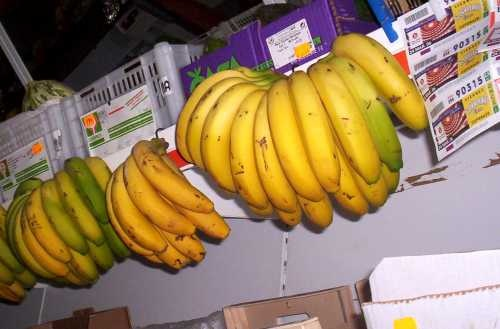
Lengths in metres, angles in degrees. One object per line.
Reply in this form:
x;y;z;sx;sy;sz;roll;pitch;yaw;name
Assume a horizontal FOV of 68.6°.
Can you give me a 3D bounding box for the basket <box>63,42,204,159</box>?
-0.420;-0.212;1.543;0.451;0.379;0.451;20;-5;18;basket
